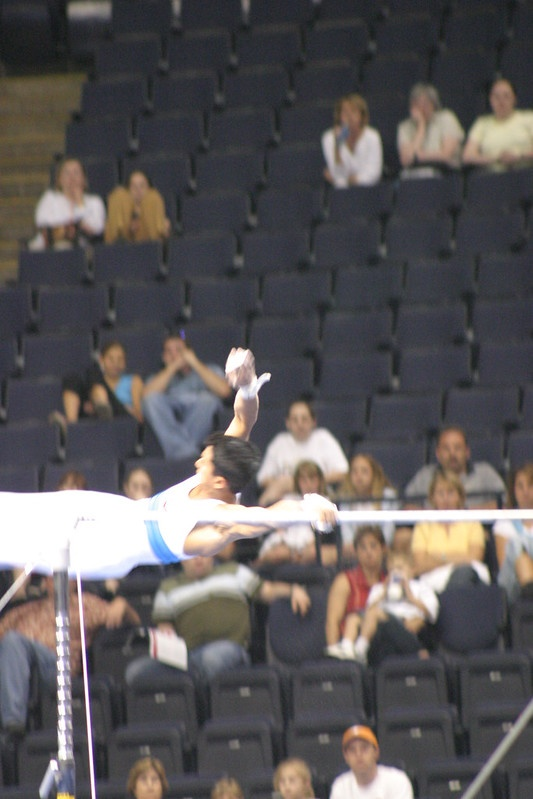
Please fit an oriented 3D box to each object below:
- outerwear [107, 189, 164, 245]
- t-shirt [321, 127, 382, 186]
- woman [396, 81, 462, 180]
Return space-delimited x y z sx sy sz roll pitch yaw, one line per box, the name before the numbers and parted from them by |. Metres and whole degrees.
outerwear | -0.787 -1.109 15.174 0.284 0.391 0.099 0 -2 13
t-shirt | 0.561 -1.476 15.305 0.285 0.408 0.124 -2 2 10
woman | 1.013 -1.645 15.308 0.396 0.723 0.382 -5 -11 18
